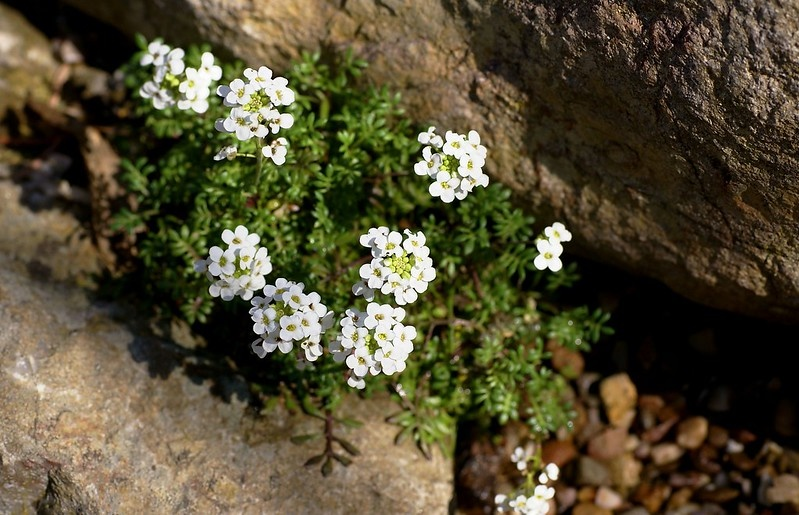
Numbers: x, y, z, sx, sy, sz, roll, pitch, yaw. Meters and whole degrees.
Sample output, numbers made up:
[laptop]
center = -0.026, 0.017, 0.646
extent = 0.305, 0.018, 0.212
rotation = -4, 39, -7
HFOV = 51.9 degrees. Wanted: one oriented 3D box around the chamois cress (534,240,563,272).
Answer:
[chamois cress]
center = 1.456, 0.000, 8.132
extent = 0.286, 0.310, 0.265
rotation = 2, 69, -12
